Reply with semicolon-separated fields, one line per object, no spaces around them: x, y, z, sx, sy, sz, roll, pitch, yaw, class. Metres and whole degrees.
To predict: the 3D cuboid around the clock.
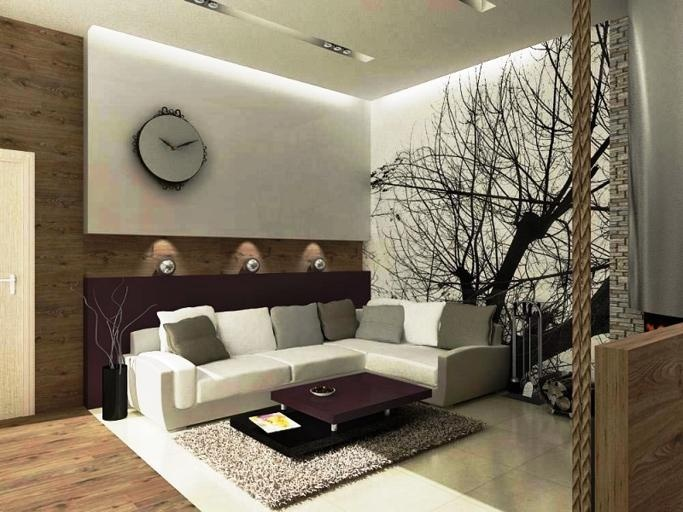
-1.853;-1.184;5.673;0.231;0.827;0.795;7;10;43;clock
